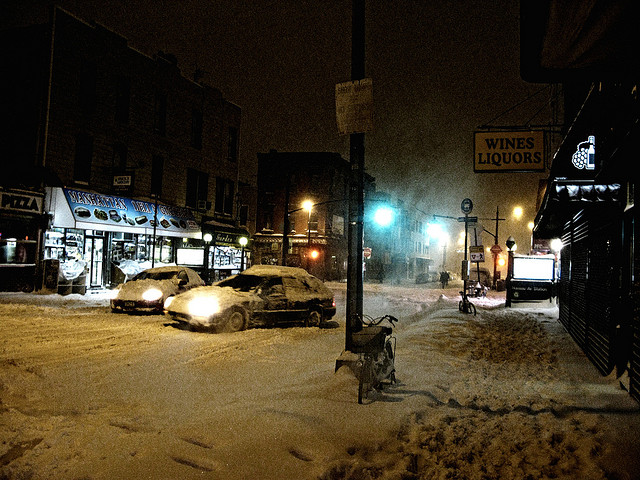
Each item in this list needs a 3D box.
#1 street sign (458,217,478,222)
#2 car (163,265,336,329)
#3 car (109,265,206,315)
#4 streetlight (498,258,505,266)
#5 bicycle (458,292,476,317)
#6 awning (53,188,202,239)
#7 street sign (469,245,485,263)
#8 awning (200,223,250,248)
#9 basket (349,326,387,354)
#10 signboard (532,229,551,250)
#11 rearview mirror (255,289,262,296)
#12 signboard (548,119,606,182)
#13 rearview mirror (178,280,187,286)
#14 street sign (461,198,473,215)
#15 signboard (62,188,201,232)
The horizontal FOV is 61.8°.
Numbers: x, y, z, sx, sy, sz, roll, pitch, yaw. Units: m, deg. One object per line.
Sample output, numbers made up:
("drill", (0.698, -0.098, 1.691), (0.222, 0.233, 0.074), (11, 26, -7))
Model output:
("street sign", (5.915, -0.830, 21.590), (0.567, 0.289, 1.467), (1, 7, 6))
("car", (-1.938, 1.896, 16.153), (4.993, 1.775, 1.438), (-4, 8, -35))
("car", (-5.444, 1.584, 18.630), (1.702, 1.293, 3.354), (-1, -6, 16))
("streetlight", (11.508, 1.386, 34.120), (0.102, 0.461, 0.451), (15, 10, -22))
("bicycle", (5.554, 2.474, 20.412), (0.622, 0.675, 1.022), (1, -9, -12))
("awning", (-9.327, -1.078, 27.009), (1.124, 1.813, 8.532), (-8, -8, 26))
("street sign", (6.513, 0.566, 22.386), (0.600, 0.720, 1.137), (2, 7, 15))
("awning", (-6.255, -0.238, 33.915), (1.002, 1.801, 4.007), (3, 7, 21))
("basket", (0.854, 1.849, 9.917), (0.518, 0.367, 0.557), (3, -6, 0))
("signboard", (20.666, 0.303, 50.568), (0.914, 1.583, 9.350), (3, 7, 18))
("rearview mirror", (-1.823, 1.531, 15.765), (0.110, 0.132, 0.236), (3, 7, 21))
("signboard", (6.193, -2.117, 12.589), (1.153, 1.446, 0.284), (2, -4, 17))
("rearview mirror", (-4.800, 1.488, 18.591), (0.131, 0.206, 0.262), (-3, -3, 21))
("street sign", (5.945, -1.366, 21.765), (0.352, 0.558, 0.639), (3, 7, 21))
("signboard", (-9.229, -1.164, 27.347), (1.120, 1.647, 8.552), (8, 1, 25))
